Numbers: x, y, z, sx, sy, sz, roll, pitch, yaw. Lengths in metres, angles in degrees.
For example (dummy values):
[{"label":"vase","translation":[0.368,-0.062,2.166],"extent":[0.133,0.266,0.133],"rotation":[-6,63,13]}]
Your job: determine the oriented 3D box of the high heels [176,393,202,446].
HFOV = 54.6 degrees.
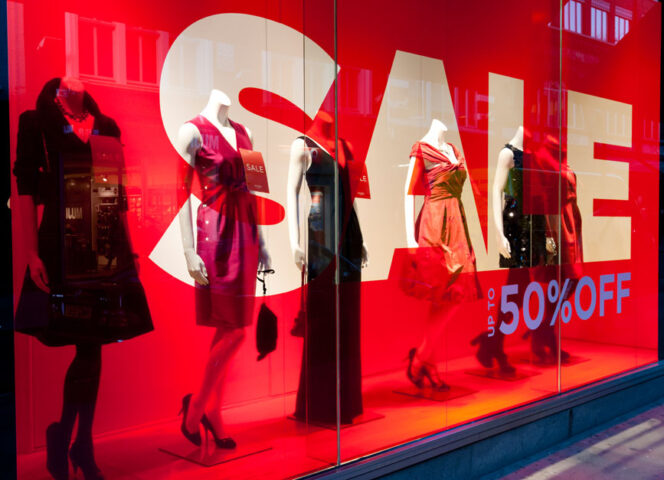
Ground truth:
[{"label":"high heels","translation":[-0.653,0.819,2.962],"extent":[0.089,0.259,0.074],"rotation":[-24,-16,37]}]
